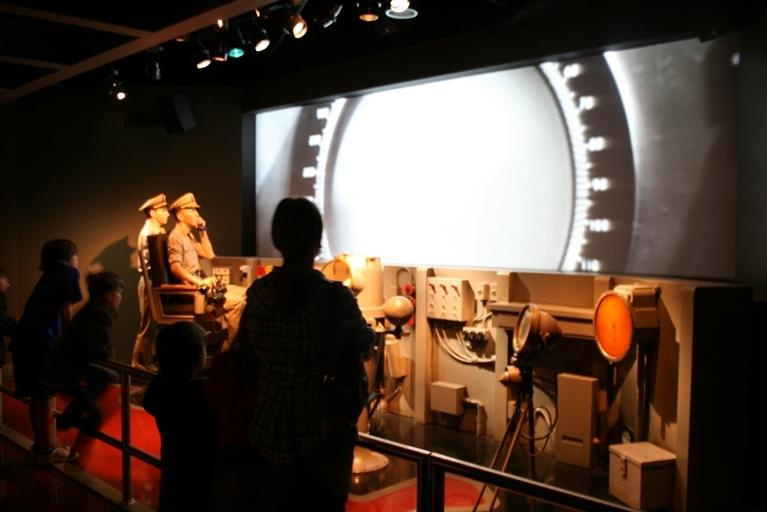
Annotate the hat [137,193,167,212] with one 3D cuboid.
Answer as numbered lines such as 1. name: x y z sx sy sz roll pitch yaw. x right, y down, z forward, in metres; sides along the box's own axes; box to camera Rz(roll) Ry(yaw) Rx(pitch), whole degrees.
1. hat: -3.133 -0.720 8.044 0.291 0.143 0.268 -19 13 -11

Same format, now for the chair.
1. chair: -2.692 0.261 7.465 1.003 1.446 1.023 0 -1 -13

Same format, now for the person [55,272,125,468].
1. person: -2.400 0.795 4.871 0.440 1.189 0.573 2 1 -28
